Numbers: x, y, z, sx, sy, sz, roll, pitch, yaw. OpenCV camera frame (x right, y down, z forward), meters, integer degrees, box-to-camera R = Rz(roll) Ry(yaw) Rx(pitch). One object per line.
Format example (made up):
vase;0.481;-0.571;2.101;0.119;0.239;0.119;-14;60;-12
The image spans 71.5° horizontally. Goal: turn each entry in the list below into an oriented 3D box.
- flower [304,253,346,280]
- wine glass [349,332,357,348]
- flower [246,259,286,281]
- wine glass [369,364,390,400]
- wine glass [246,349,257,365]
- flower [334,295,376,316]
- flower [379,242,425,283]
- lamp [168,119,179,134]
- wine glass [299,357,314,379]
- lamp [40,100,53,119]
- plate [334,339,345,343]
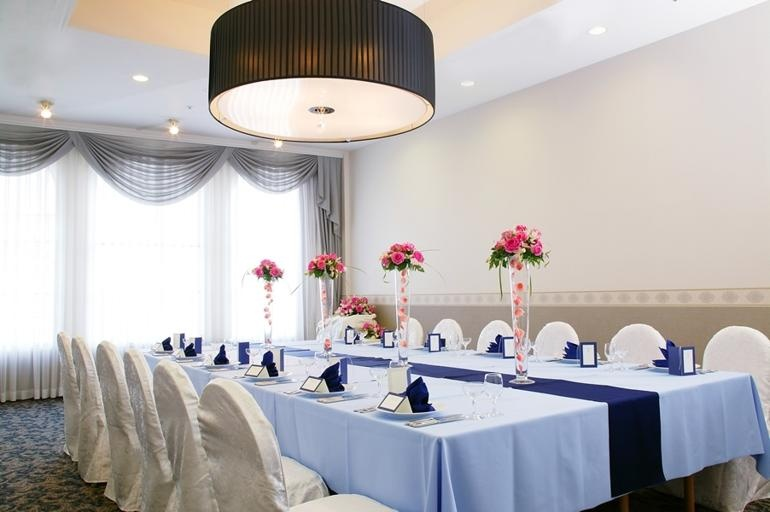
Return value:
flower;-0.595;0.108;5.177;0.372;0.293;0.382;1;1;-27
wine glass;-0.360;0.966;6.153;0.099;0.142;0.135;0;4;-34
flower;-1.254;0.162;5.744;0.396;0.321;0.423;2;-2;-3
wine glass;-0.032;0.864;3.676;0.135;0.225;0.125;1;-3;35
wine glass;-1.164;0.884;4.659;0.094;0.121;0.100;-1;-10;-4
flower;-0.477;0.859;8.910;0.370;0.269;0.395;2;-5;10
flower;0.141;0.024;4.249;0.311;0.260;0.416;-2;-2;10
lamp;-3.304;-2.030;8.380;0.137;0.176;0.144;2;-12;28
wine glass;-0.626;0.893;4.241;0.118;0.159;0.126;2;-1;17
lamp;-4.712;-2.040;7.449;0.197;0.236;0.209;-1;-2;-6
plate;-0.534;1.033;6.502;0.085;0.048;0.057;2;-3;-25
